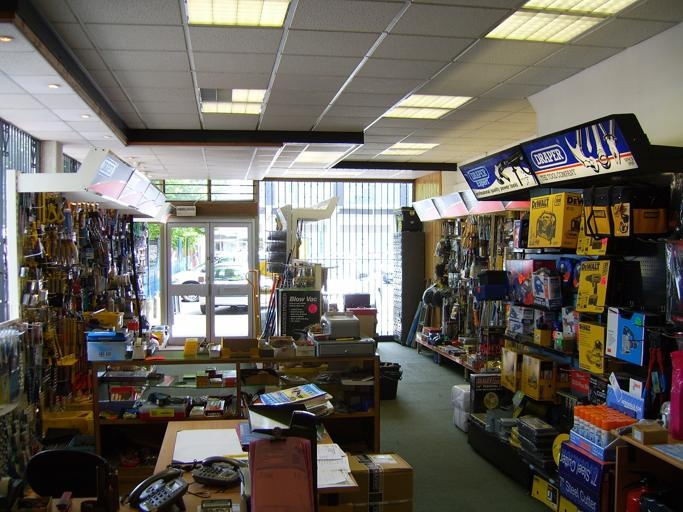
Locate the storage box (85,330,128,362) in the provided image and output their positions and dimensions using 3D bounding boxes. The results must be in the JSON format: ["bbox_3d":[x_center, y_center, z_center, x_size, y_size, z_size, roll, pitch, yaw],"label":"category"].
[{"bbox_3d":[-2.202,0.845,4.978,0.326,0.212,0.295,2,4,1],"label":"storage box"}]

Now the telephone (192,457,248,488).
[{"bbox_3d":[-0.796,1.416,3.465,0.203,0.080,0.206,-2,7,-3],"label":"telephone"}]

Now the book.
[{"bbox_3d":[-0.361,1.079,3.779,0.618,0.188,0.466,-4,4,-38],"label":"book"}]

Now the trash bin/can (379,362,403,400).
[{"bbox_3d":[0.711,1.864,7.756,0.361,0.394,0.321,1,-29,3],"label":"trash bin/can"}]

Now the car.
[{"bbox_3d":[-2.575,0.591,10.747,2.179,1.052,1.222,0,2,-12],"label":"car"}]

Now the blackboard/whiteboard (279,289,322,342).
[{"bbox_3d":[-0.463,0.709,6.593,0.580,0.841,0.562,1,4,0],"label":"blackboard/whiteboard"}]

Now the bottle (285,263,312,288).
[{"bbox_3d":[-0.519,0.227,6.556,0.357,0.223,0.269,8,4,-5],"label":"bottle"}]
